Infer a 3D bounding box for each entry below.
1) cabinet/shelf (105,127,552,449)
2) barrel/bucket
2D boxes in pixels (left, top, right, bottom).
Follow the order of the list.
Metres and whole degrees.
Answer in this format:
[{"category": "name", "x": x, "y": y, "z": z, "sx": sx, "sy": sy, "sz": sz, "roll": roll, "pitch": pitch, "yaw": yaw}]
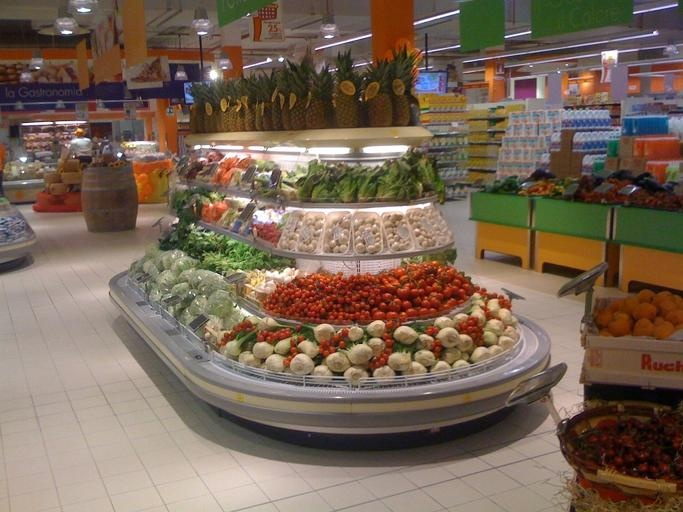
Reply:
[{"category": "cabinet/shelf", "x": -0.130, "y": 0.262, "z": 4.208, "sx": 2.332, "sy": 1.459, "sz": 4.105, "roll": -10, "pitch": 16, "yaw": -28}, {"category": "barrel/bucket", "x": -5.868, "y": -1.442, "z": 11.410, "sx": 1.196, "sy": 1.858, "sz": 0.980, "roll": -9, "pitch": 14, "yaw": -30}]
